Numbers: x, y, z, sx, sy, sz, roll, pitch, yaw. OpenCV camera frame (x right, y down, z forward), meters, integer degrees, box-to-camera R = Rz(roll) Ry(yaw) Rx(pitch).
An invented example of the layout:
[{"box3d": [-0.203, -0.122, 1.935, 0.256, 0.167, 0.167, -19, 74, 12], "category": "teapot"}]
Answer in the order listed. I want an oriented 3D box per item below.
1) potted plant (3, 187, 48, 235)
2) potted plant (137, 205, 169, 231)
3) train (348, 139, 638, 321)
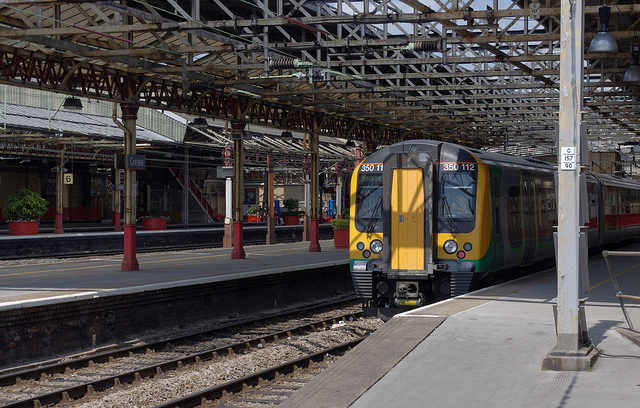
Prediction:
[{"box3d": [-17.680, 0.482, 40.444, 2.119, 2.626, 1.419, 1, 5, -23], "category": "potted plant"}, {"box3d": [-13.884, 1.177, 56.226, 1.321, 1.588, 1.742, -3, -3, 37], "category": "potted plant"}, {"box3d": [7.942, 0.765, 28.268, 3.959, 6.319, 23.659, -2, -2, 34], "category": "train"}]
